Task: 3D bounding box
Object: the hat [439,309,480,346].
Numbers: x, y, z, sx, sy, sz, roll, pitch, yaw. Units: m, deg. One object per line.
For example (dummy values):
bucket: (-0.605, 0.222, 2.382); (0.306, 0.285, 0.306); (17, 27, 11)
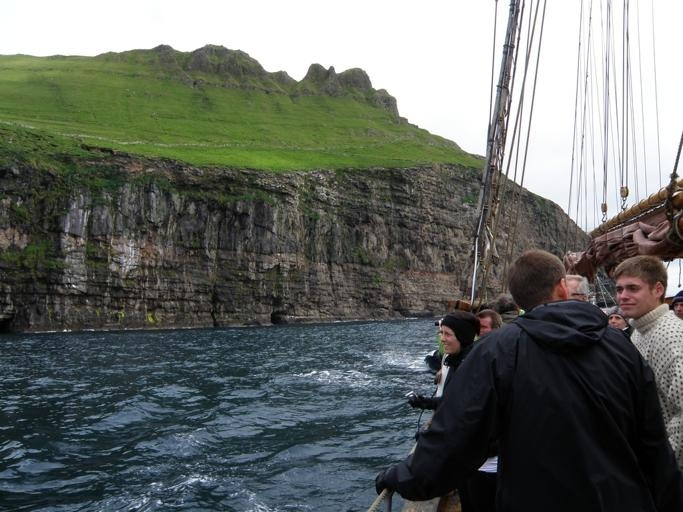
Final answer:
hat: (1.311, 0.745, 5.629); (0.457, 0.311, 0.313); (7, -2, -15)
